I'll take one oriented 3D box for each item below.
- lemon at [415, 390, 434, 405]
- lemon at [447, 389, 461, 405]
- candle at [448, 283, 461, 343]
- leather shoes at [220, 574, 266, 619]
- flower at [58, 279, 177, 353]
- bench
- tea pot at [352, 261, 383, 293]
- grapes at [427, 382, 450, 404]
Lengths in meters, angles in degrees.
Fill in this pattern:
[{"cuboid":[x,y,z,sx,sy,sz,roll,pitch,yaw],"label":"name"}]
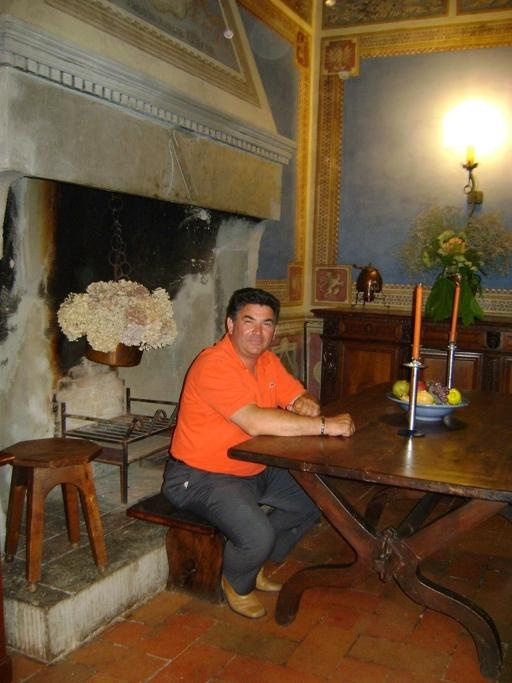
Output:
[{"cuboid":[0.625,0.219,2.025,0.068,0.061,0.062,8,-26,2],"label":"lemon"},{"cuboid":[0.780,0.217,2.110,0.062,0.060,0.061,1,-36,21],"label":"lemon"},{"cuboid":[0.821,-0.108,2.243,0.046,0.244,0.039,6,5,28],"label":"candle"},{"cuboid":[-0.055,0.928,1.962,0.187,0.069,0.091,11,2,43],"label":"leather shoes"},{"cuboid":[-0.661,-0.118,2.569,0.595,0.350,0.200,-2,4,-40],"label":"flower"},{"cuboid":[-0.195,0.825,2.130,0.409,0.356,0.383,-3,2,34],"label":"bench"},{"cuboid":[1.035,-0.593,5.092,0.216,0.258,0.325,0,0,-20],"label":"tea pot"},{"cuboid":[0.711,0.200,2.130,0.065,0.029,0.087,23,-11,-32],"label":"grapes"}]
